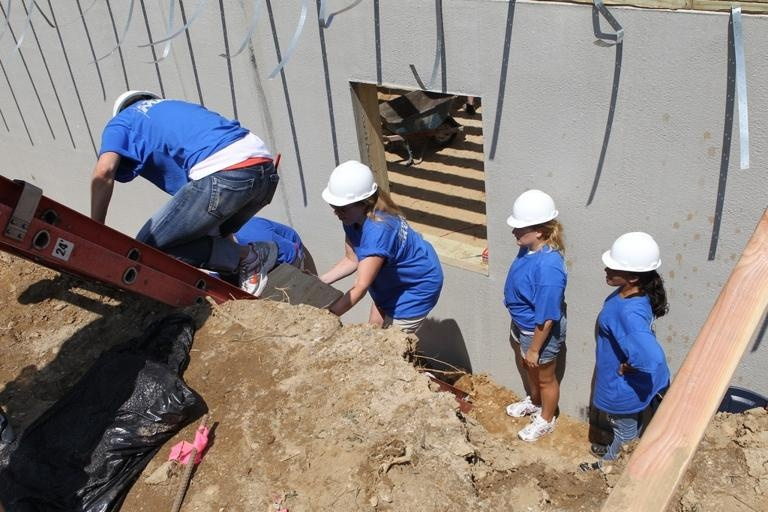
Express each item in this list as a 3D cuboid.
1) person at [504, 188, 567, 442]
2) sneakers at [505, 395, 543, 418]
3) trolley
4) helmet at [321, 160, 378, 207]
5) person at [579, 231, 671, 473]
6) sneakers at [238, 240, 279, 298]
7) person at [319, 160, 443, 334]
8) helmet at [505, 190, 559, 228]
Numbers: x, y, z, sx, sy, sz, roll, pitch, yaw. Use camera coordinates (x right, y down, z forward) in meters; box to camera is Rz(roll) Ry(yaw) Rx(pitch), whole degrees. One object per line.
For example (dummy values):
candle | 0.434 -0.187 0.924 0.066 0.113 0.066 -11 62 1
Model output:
person | 1.364 0.478 6.387 0.622 2.358 0.999 -10 41 5
sneakers | 1.385 1.480 7.139 0.358 0.161 0.150 -5 57 7
trolley | 0.560 -1.798 9.682 1.087 0.534 0.779 -21 46 -21
helmet | -0.270 -0.634 5.876 0.486 0.264 0.416 -19 38 -29
person | 2.041 0.883 6.016 0.661 2.217 0.506 11 21 22
sneakers | -1.046 0.107 6.159 0.187 0.552 0.261 3 -14 42
person | -0.048 -0.019 6.516 1.017 1.655 0.736 -20 57 -5
helmet | 1.295 -0.411 6.090 0.490 0.281 0.413 -1 14 24
